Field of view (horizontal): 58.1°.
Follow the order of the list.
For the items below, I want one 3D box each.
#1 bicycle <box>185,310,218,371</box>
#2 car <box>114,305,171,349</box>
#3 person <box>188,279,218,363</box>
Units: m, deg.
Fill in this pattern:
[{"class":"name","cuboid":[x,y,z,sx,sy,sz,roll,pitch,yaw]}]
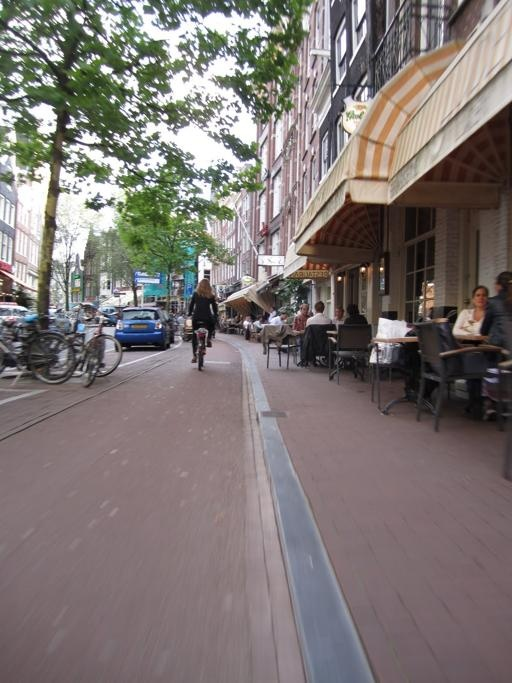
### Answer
[{"class":"bicycle","cuboid":[-1.254,-0.019,11.030,0.589,0.850,1.361,0,5,-2]},{"class":"car","cuboid":[-4.342,-0.518,18.608,1.449,1.273,2.640,-1,8,-5]},{"class":"person","cuboid":[-1.222,-0.461,10.609,0.635,1.849,0.604,0,1,-3]}]
